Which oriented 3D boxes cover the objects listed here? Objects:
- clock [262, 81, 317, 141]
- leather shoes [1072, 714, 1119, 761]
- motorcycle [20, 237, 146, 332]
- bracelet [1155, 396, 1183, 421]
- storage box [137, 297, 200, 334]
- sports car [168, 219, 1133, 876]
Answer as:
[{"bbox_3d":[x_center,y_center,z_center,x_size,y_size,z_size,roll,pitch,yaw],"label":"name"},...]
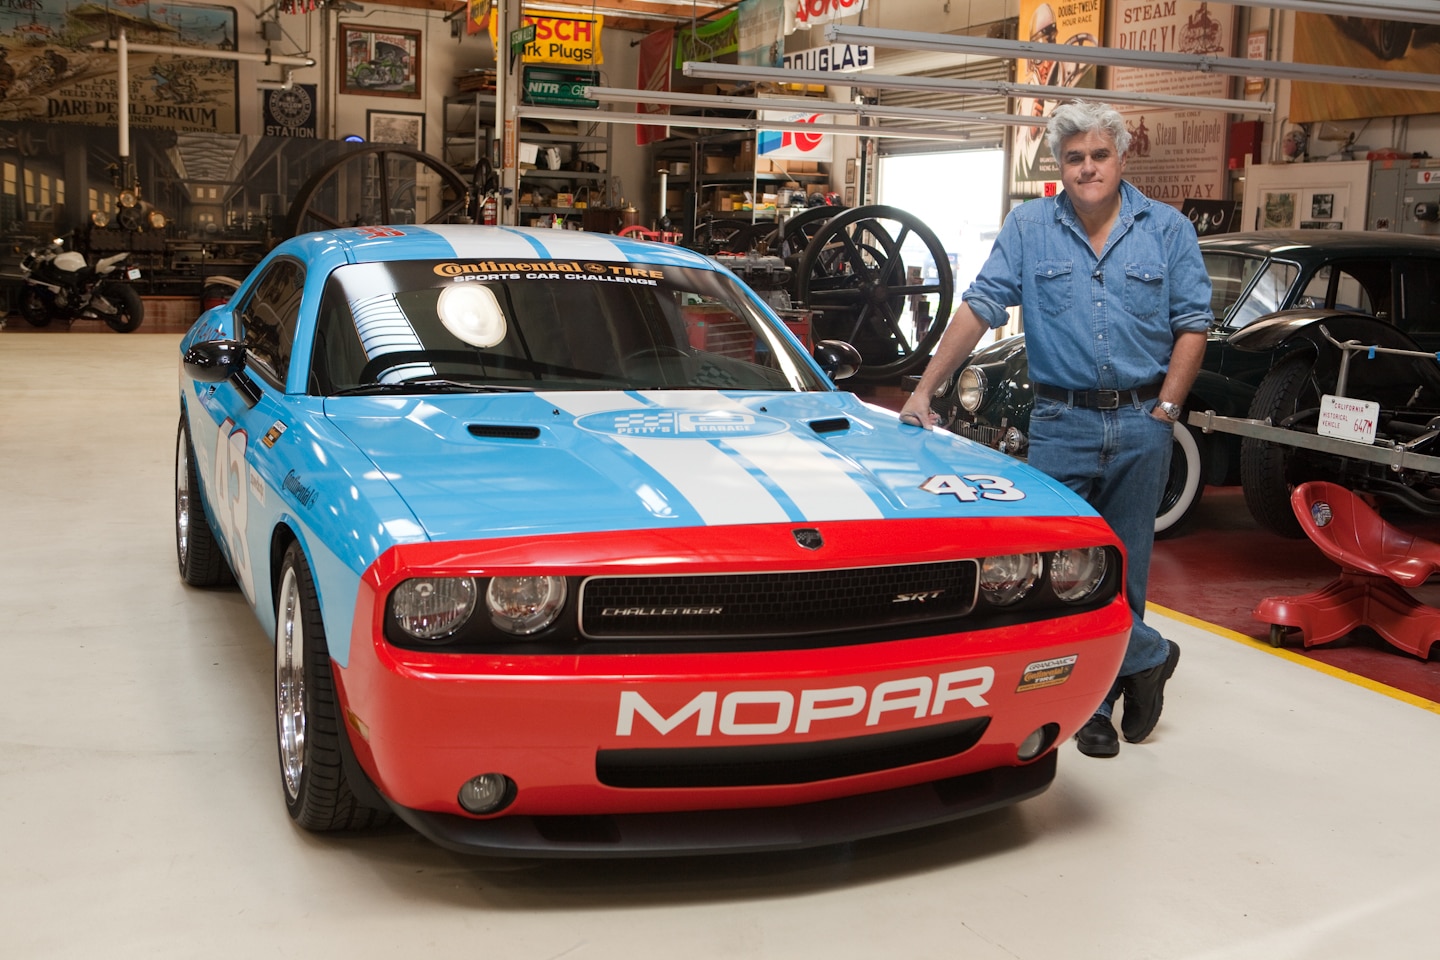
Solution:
[{"bbox_3d":[-9.405,-8.126,21.463,1.138,1.086,0.430,-4,16,-23],"label":"clock"},{"bbox_3d":[1.379,0.930,3.565,0.104,0.093,0.251,0,1,3],"label":"leather shoes"},{"bbox_3d":[-10.718,-3.206,16.482,1.890,1.420,0.613,0,15,-7],"label":"motorcycle"},{"bbox_3d":[1.613,-0.252,3.481,0.158,0.086,0.060,-11,19,-43],"label":"bracelet"},{"bbox_3d":[-9.740,-2.923,17.337,0.888,0.194,0.755,3,29,-7],"label":"storage box"},{"bbox_3d":[-0.730,0.227,4.030,1.967,1.122,3.612,-3,6,-22],"label":"sports car"}]
